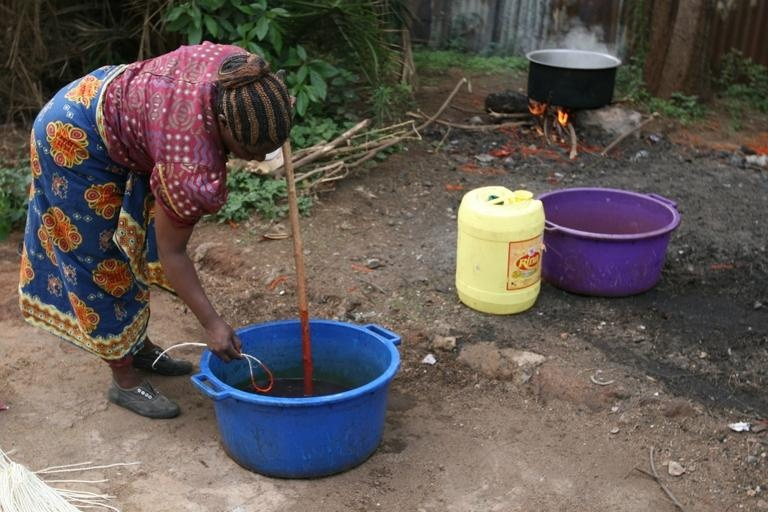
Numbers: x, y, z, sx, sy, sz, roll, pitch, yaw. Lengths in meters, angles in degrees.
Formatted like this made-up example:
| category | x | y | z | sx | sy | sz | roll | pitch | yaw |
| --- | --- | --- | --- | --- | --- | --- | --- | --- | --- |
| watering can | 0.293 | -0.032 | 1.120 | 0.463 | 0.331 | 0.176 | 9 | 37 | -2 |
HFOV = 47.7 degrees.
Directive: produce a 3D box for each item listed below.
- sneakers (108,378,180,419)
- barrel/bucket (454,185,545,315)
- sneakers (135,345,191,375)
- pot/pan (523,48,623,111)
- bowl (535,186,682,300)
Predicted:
| category | x | y | z | sx | sy | sz | roll | pitch | yaw |
| --- | --- | --- | --- | --- | --- | --- | --- | --- | --- |
| sneakers | -1.521 | 0.912 | 5.572 | 0.450 | 0.175 | 0.199 | 13 | 5 | 4 |
| barrel/bucket | 0.796 | -0.040 | 6.096 | 0.639 | 0.723 | 0.664 | 0 | 19 | 0 |
| sneakers | -1.478 | 0.674 | 5.841 | 0.423 | 0.162 | 0.156 | 5 | 26 | -4 |
| pot/pan | 1.738 | -1.632 | 8.134 | 0.829 | 0.534 | 0.649 | 10 | 30 | 16 |
| bowl | 1.570 | -0.097 | 6.138 | 0.946 | 0.419 | 0.786 | -12 | 29 | -22 |
